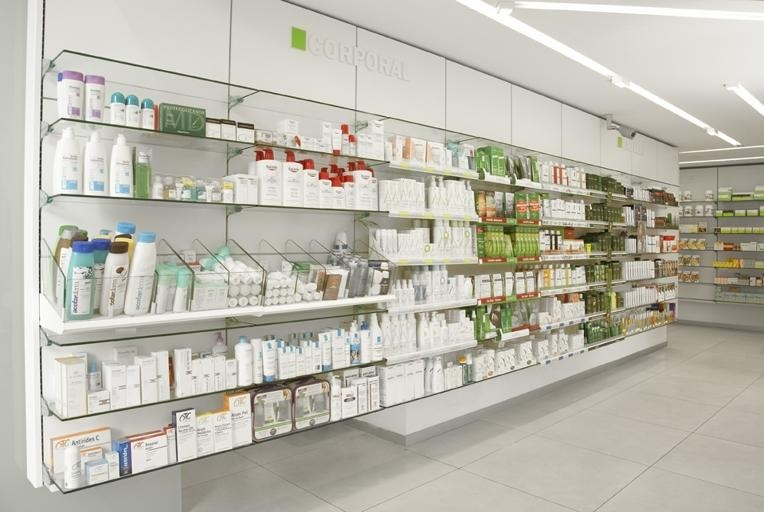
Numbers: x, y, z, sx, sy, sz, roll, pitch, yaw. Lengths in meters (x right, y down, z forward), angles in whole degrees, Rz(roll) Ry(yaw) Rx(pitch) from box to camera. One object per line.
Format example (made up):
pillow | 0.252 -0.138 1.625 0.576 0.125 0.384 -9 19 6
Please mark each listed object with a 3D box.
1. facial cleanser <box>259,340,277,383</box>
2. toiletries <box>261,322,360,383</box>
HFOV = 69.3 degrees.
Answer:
facial cleanser | -0.870 0.822 4.301 0.115 0.309 0.070 -2 8 -11
toiletries | -0.547 0.791 4.491 0.899 0.319 0.104 -5 9 -32
